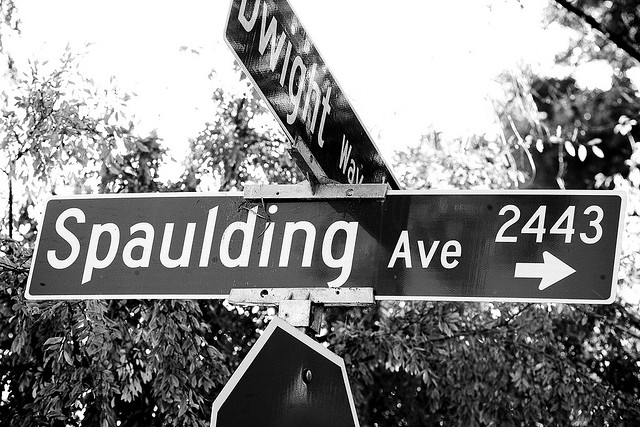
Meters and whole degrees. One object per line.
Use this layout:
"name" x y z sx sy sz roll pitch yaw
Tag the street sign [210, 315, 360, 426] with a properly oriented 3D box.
"street sign" -0.170 0.820 3.722 0.796 0.592 0.177 -1 2 -36
